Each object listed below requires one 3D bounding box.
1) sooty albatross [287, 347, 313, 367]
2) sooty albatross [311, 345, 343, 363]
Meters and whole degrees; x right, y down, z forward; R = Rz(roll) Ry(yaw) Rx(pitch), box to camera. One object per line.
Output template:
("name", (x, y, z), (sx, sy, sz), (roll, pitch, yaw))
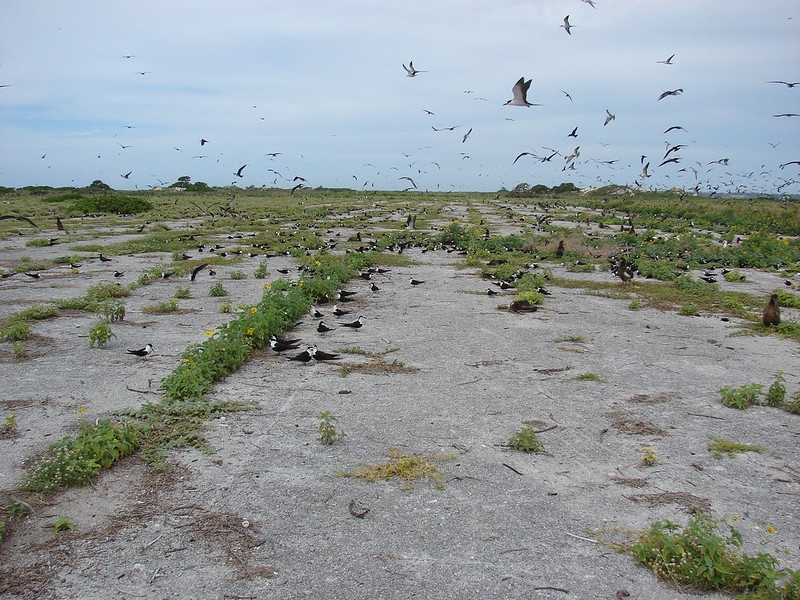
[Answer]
("sooty albatross", (-2.446, 1.323, 12.491), (0.731, 0.337, 0.326), (1, 4, -4))
("sooty albatross", (-1.648, 1.322, 12.527), (0.815, 0.302, 0.284), (1, -4, 7))
